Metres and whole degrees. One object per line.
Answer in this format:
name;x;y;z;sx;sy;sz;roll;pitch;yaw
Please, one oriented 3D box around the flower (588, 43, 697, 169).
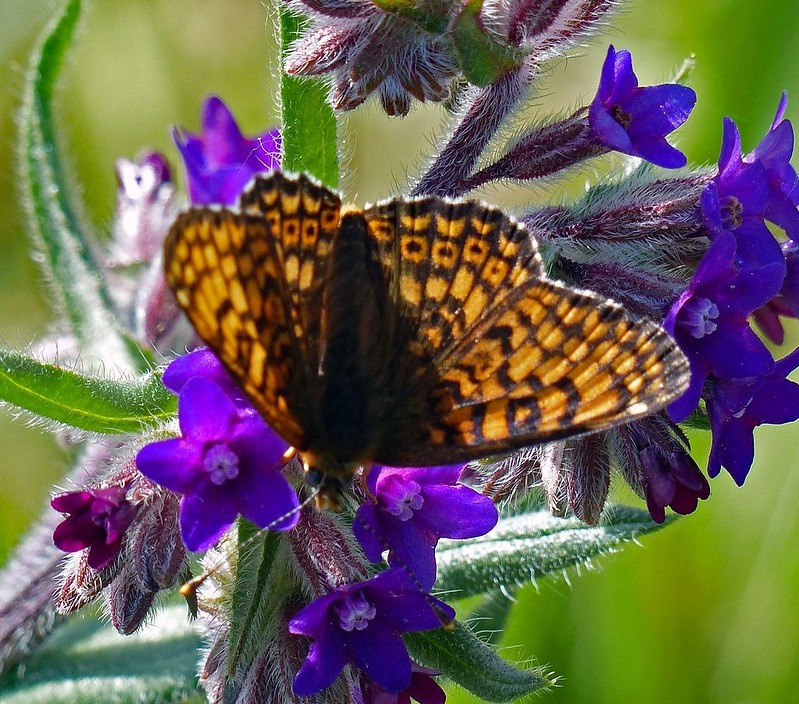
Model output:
flower;0.685;-0.696;2.949;0.271;0.323;0.130;33;-65;-21
